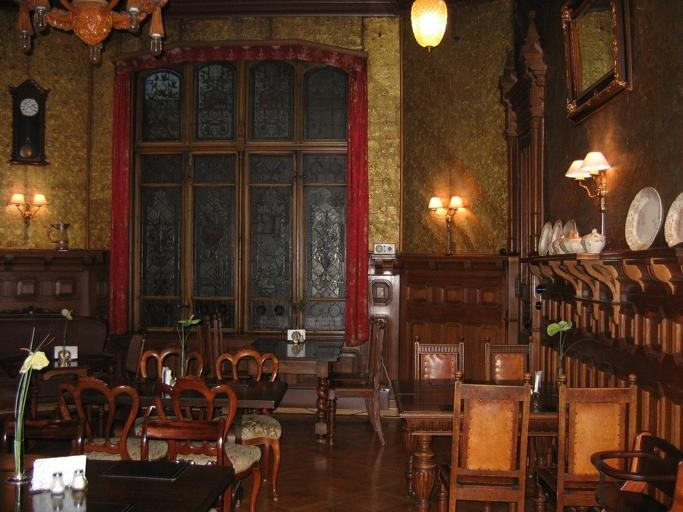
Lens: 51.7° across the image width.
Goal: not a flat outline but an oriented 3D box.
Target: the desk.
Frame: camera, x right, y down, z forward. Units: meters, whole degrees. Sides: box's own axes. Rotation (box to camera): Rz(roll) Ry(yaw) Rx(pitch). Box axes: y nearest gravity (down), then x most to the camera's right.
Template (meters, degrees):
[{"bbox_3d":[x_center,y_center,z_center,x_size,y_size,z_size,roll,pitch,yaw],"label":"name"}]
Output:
[{"bbox_3d":[0.919,1.497,6.004,1.112,0.731,1.432,0,-6,3],"label":"desk"}]

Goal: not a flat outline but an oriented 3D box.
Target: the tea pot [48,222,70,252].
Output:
[{"bbox_3d":[-3.882,-0.281,9.632,0.293,0.342,0.321,2,5,0],"label":"tea pot"}]

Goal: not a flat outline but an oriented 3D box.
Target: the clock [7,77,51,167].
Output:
[{"bbox_3d":[-4.289,-1.838,9.615,0.479,1.150,0.191,-1,5,-25],"label":"clock"}]

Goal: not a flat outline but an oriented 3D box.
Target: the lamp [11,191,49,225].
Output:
[{"bbox_3d":[-4.306,-0.670,9.616,0.392,0.408,0.216,1,8,1],"label":"lamp"}]

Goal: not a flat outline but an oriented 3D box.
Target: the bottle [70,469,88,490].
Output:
[{"bbox_3d":[-1.616,1.367,4.331,0.091,0.097,0.096,1,-3,8],"label":"bottle"}]

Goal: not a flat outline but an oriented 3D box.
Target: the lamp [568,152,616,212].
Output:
[{"bbox_3d":[2.269,-0.676,6.347,0.342,0.564,0.551,3,-5,-18],"label":"lamp"}]
